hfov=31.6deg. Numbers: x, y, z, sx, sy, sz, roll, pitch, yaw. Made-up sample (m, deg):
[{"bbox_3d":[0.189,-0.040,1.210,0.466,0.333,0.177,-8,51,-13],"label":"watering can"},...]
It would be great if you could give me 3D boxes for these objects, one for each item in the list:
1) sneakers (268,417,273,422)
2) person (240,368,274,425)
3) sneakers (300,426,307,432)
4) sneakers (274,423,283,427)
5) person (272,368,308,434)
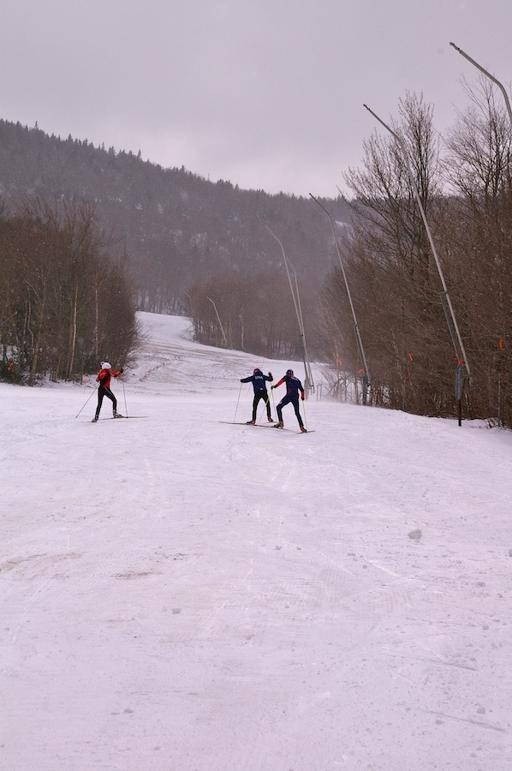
[{"bbox_3d":[0.355,0.829,22.131,0.071,0.147,0.137,-2,-10,-11],"label":"sneakers"},{"bbox_3d":[0.080,0.288,20.934,0.633,1.524,0.448,-1,-35,-5],"label":"person"},{"bbox_3d":[1.025,0.925,19.509,0.074,0.069,0.184,-3,-23,-3],"label":"sneakers"},{"bbox_3d":[0.512,0.901,20.493,0.092,0.141,0.266,5,-1,-33],"label":"sneakers"},{"bbox_3d":[0.748,0.315,20.035,0.701,1.557,0.501,8,-28,-5],"label":"person"}]
